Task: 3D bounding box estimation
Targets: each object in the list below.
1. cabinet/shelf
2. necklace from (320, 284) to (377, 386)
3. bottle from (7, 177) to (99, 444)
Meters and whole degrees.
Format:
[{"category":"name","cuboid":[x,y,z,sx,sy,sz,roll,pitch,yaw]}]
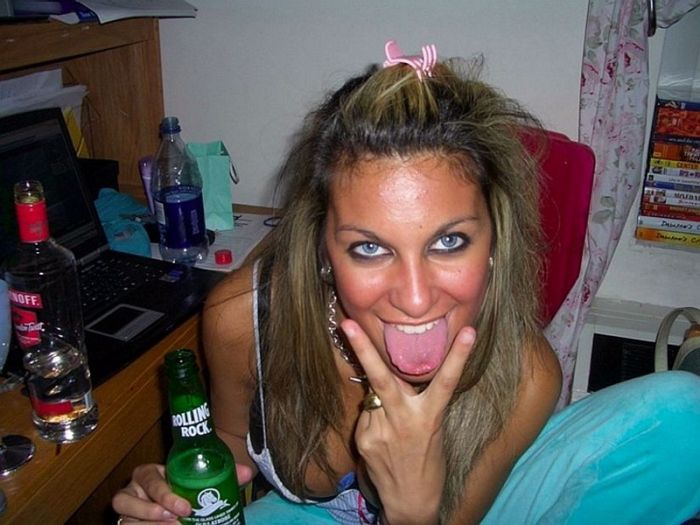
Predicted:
[{"category":"cabinet/shelf","cuboid":[0.981,0.285,1.827,0.405,0.402,0.225,2,30,7]},{"category":"necklace","cuboid":[-0.020,0.186,1.318,0.154,0.217,0.050,-13,2,-35]},{"category":"bottle","cuboid":[-0.651,0.089,1.119,0.150,0.533,0.247,-12,21,-27]}]
